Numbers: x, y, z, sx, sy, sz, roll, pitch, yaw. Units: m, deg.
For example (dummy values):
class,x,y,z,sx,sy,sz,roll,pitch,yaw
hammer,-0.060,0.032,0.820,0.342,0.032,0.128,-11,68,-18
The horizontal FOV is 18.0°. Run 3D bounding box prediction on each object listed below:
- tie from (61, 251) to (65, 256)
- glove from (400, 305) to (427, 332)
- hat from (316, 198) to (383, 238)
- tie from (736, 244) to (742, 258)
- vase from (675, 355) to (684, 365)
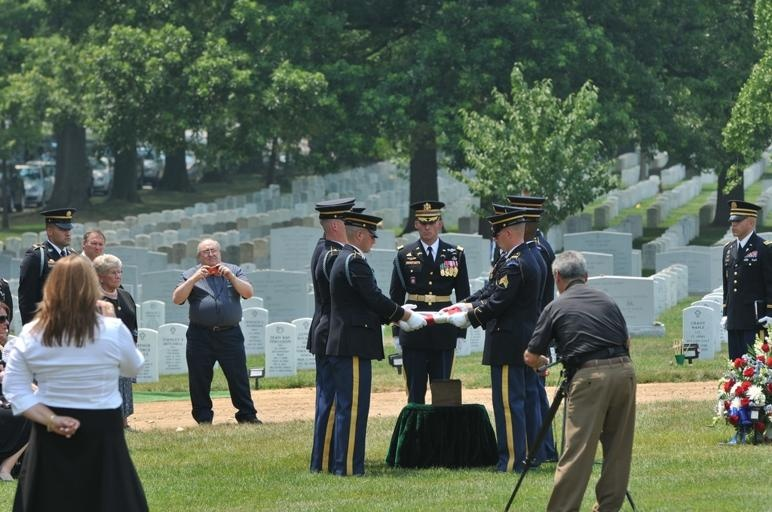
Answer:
class,x,y,z,sx,sy,sz,roll,pitch,yaw
tie,-8.861,-0.108,66.376,0.097,0.120,0.125,12,7,0
glove,0.687,1.653,64.861,0.765,0.701,0.686,-1,-1,-1
hat,-0.972,-1.168,64.822,1.424,0.517,1.132,12,5,2
tie,9.770,-0.169,67.108,0.202,0.256,0.066,-3,-6,27
vase,8.521,3.021,70.369,0.229,0.291,0.394,-2,-1,9
